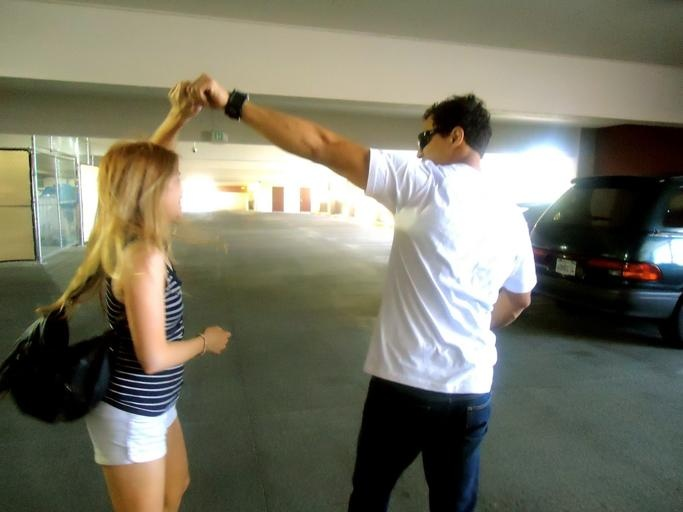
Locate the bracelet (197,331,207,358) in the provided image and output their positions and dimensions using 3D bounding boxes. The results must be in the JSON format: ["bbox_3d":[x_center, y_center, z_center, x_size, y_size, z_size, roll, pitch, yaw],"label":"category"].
[{"bbox_3d":[-0.826,0.543,3.121,0.039,0.106,0.084,2,-2,-27],"label":"bracelet"}]
